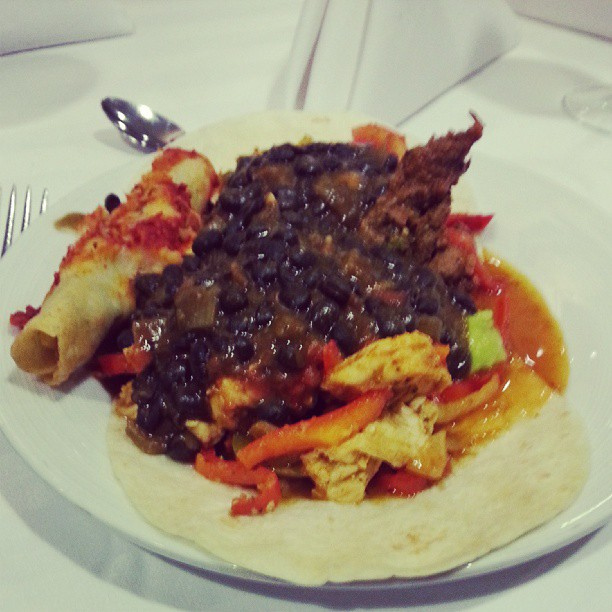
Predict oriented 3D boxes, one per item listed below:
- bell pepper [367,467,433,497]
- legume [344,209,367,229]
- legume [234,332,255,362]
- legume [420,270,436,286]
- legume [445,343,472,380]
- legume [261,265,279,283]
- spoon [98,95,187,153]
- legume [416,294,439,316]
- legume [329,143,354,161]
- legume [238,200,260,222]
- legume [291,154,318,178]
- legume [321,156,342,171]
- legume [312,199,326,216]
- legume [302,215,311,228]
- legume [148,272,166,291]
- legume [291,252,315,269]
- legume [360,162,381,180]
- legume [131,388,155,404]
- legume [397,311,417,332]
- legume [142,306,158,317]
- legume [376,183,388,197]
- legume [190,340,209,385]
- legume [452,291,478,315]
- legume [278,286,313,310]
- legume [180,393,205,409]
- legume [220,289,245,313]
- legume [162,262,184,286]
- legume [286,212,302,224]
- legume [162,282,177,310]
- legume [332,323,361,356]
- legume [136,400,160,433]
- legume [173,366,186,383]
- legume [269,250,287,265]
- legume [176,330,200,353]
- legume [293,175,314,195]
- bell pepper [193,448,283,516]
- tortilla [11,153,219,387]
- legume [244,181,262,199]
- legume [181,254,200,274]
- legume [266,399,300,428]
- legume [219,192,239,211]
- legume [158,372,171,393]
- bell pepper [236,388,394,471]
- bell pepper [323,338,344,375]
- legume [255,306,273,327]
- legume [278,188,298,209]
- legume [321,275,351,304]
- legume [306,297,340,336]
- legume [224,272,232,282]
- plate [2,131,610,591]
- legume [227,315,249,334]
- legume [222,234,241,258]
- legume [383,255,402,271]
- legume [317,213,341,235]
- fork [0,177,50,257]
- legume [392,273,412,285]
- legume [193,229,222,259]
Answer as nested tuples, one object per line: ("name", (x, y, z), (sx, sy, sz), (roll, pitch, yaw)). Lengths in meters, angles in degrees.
("bell pepper", (0.225, 0.392, 1.823), (0.106, 0.026, 0.081), (-13, 21, -21))
("legume", (0.120, -0.204, 1.841), (0.054, 0.013, 0.032), (-44, 90, -8))
("legume", (-0.138, 0.091, 1.724), (0.044, 0.060, 0.016), (-4, 7, -5))
("legume", (0.296, -0.065, 1.850), (0.031, 0.012, 0.041), (3, 46, 1))
("legume", (0.373, 0.135, 1.849), (0.065, 0.086, 0.020), (-6, 19, -16))
("legume", (-0.079, -0.070, 1.739), (0.036, 0.036, 0.036), (2, 4, 1))
("spoon", (-0.544, -0.648, 2.717), (0.207, 0.222, 0.283), (14, 27, 32))
("legume", (0.286, -0.001, 1.792), (0.049, 0.013, 0.050), (-2, 60, -13))
("legume", (0.097, -0.397, 1.994), (0.056, 0.024, 0.060), (5, 33, -4))
("legume", (-0.135, -0.227, 1.837), (0.042, 0.015, 0.056), (18, 79, 31))
("legume", (-0.002, -0.351, 1.913), (0.063, 0.030, 0.099), (1, 49, -10))
("legume", (0.067, -0.351, 1.917), (0.038, 0.009, 0.040), (0, 40, -3))
("legume", (0.033, -0.233, 1.841), (0.025, 0.011, 0.042), (20, 79, 22))
("legume", (0.004, -0.196, 1.817), (0.017, 0.007, 0.028), (5, 47, -4))
("legume", (-0.370, -0.062, 1.923), (0.036, 0.014, 0.047), (-24, 49, -12))
("legume", (-0.003, -0.103, 1.757), (0.047, 0.011, 0.036), (2, 87, -14))
("legume", (0.164, -0.341, 1.924), (0.050, 0.013, 0.050), (33, 44, 3))
("legume", (-0.392, 0.216, 1.855), (0.052, 0.033, 0.012), (1, 21, 36))
("legume", (0.238, 0.033, 1.764), (0.046, 0.011, 0.044), (0, 67, -25))
("legume", (-0.380, 0.019, 1.864), (0.028, 0.010, 0.029), (3, 64, 22))
("legume", (0.191, -0.282, 1.894), (0.020, 0.008, 0.033), (27, 56, 13))
("legume", (-0.242, 0.128, 1.765), (0.041, 0.084, 0.063), (-1, 48, -10))
("legume", (0.390, -0.007, 1.903), (0.050, 0.019, 0.065), (-18, 72, -43))
("legume", (-0.023, -0.018, 1.726), (0.057, 0.014, 0.057), (0, 41, -1))
("legume", (-0.261, 0.219, 1.788), (0.051, 0.029, 0.019), (1, 9, -3))
("legume", (-0.164, -0.011, 1.723), (0.049, 0.012, 0.049), (-7, 80, -1))
("legume", (-0.326, -0.077, 1.856), (0.043, 0.022, 0.060), (1, 52, -7))
("legume", (-0.026, -0.204, 1.811), (0.027, 0.014, 0.027), (-10, 41, -10))
("legume", (-0.318, -0.022, 1.840), (0.013, 0.053, 0.040), (14, 5, -7))
("legume", (0.093, 0.076, 1.743), (0.056, 0.076, 0.019), (-26, 13, -27))
("legume", (-0.382, 0.267, 1.859), (0.057, 0.077, 0.022), (1, 5, 11))
("legume", (-0.294, 0.158, 1.779), (0.019, 0.035, 0.012), (21, 13, -7))
("legume", (-0.054, -0.107, 1.753), (0.030, 0.008, 0.030), (-2, 66, -14))
("legume", (-0.266, 0.078, 1.766), (0.042, 0.057, 0.021), (28, 10, 16))
("legume", (-0.002, -0.295, 1.877), (0.064, 0.038, 0.011), (-27, 48, -9))
("bell pepper", (-0.153, 0.398, 1.822), (0.161, 0.051, 0.127), (30, 13, 19))
("tortilla", (-0.570, 0.011, 1.960), (0.196, 0.224, 0.410), (39, 53, 23))
("legume", (-0.126, -0.278, 1.873), (0.034, 0.013, 0.045), (-10, 39, 14))
("legume", (-0.271, -0.098, 1.834), (0.044, 0.017, 0.044), (-3, 59, 2))
("legume", (-0.058, 0.242, 1.785), (0.057, 0.041, 0.071), (29, 2, -41))
("legume", (-0.190, -0.252, 1.873), (0.042, 0.033, 0.048), (0, 43, 1))
("legume", (-0.331, 0.178, 1.807), (0.029, 0.051, 0.013), (13, 26, 23))
("bell pepper", (0.032, 0.300, 1.794), (0.401, 0.083, 0.087), (-20, 24, -15))
("bell pepper", (0.059, 0.111, 1.740), (0.046, 0.053, 0.051), (-9, 50, -17))
("legume", (-0.092, 0.024, 1.721), (0.041, 0.008, 0.041), (-5, 83, -11))
("legume", (-0.047, -0.252, 1.850), (0.046, 0.013, 0.046), (-1, 53, -2))
("legume", (0.072, -0.037, 1.788), (0.070, 0.057, 0.058), (33, 81, -2))
("legume", (0.040, 0.026, 1.726), (0.064, 0.086, 0.028), (23, 7, -8))
("legume", (-0.177, -0.064, 1.763), (0.019, 0.019, 0.019), (0, 73, 2))
("plate", (0.121, 0.129, 1.960), (1.270, 0.184, 1.235), (-24, 49, -29))
("legume", (-0.150, 0.042, 1.728), (0.044, 0.013, 0.035), (-38, 77, 10))
("legume", (-0.171, -0.139, 1.797), (0.042, 0.028, 0.051), (19, 60, -37))
("legume", (0.206, -0.099, 1.806), (0.037, 0.012, 0.037), (4, 48, -22))
("legume", (0.057, -0.194, 1.830), (0.039, 0.015, 0.065), (29, 50, 15))
("fork", (-0.879, -0.262, 2.356), (0.089, 0.029, 0.311), (2, 57, -6))
("legume", (0.228, -0.064, 1.793), (0.036, 0.009, 0.024), (13, 69, -26))
("legume", (-0.226, -0.147, 1.871), (0.073, 0.040, 0.055), (-43, 59, -7))
